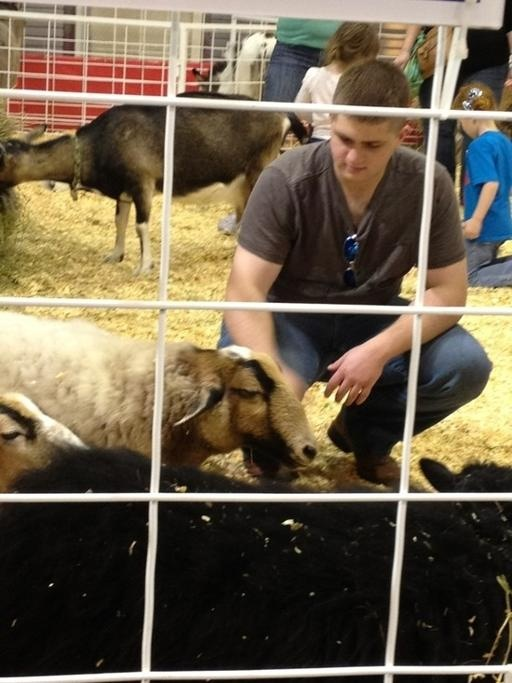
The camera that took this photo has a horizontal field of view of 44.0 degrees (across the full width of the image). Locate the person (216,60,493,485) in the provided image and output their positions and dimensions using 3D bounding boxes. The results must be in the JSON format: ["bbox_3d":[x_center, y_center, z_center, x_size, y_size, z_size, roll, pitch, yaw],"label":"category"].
[{"bbox_3d":[0.271,-0.092,1.603,0.689,1.130,0.417,5,23,-5],"label":"person"}]
